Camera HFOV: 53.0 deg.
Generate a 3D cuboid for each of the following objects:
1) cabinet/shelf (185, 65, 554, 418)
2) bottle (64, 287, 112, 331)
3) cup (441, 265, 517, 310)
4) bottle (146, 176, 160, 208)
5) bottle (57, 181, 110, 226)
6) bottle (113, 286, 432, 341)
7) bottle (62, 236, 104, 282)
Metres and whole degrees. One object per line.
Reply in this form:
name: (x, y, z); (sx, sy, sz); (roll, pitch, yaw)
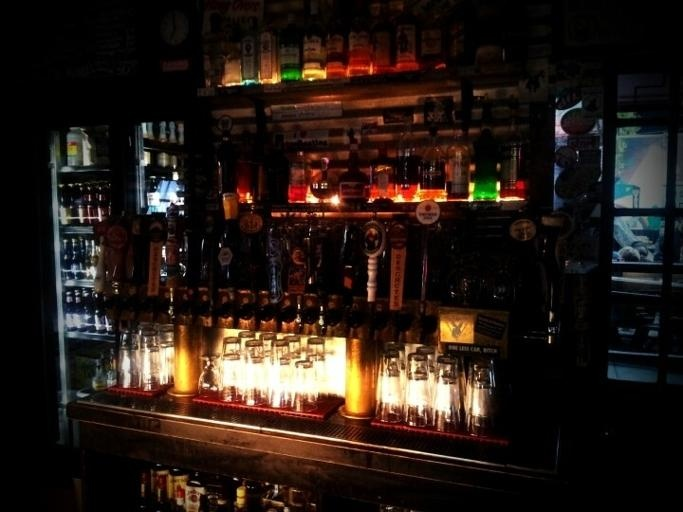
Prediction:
cabinet/shelf: (0.192, -0.027, 3.975); (2.036, 1.835, 0.664); (0, 0, 22)
bottle: (-1.877, 0.405, 5.078); (0.338, 0.340, 0.256); (3, 2, 2)
cup: (0.751, 0.177, 3.758); (0.360, 0.163, 0.101); (2, -1, 7)
bottle: (-1.342, -0.456, 4.886); (0.083, 0.209, 0.128); (2, -1, -16)
bottle: (-1.968, -0.388, 5.184); (0.375, 0.385, 0.210); (0, 1, 5)
bottle: (-0.419, 0.336, 3.911); (1.942, 0.284, 0.203); (2, 9, 13)
bottle: (-2.016, 0.011, 5.262); (0.257, 0.345, 0.291); (2, -1, -12)
